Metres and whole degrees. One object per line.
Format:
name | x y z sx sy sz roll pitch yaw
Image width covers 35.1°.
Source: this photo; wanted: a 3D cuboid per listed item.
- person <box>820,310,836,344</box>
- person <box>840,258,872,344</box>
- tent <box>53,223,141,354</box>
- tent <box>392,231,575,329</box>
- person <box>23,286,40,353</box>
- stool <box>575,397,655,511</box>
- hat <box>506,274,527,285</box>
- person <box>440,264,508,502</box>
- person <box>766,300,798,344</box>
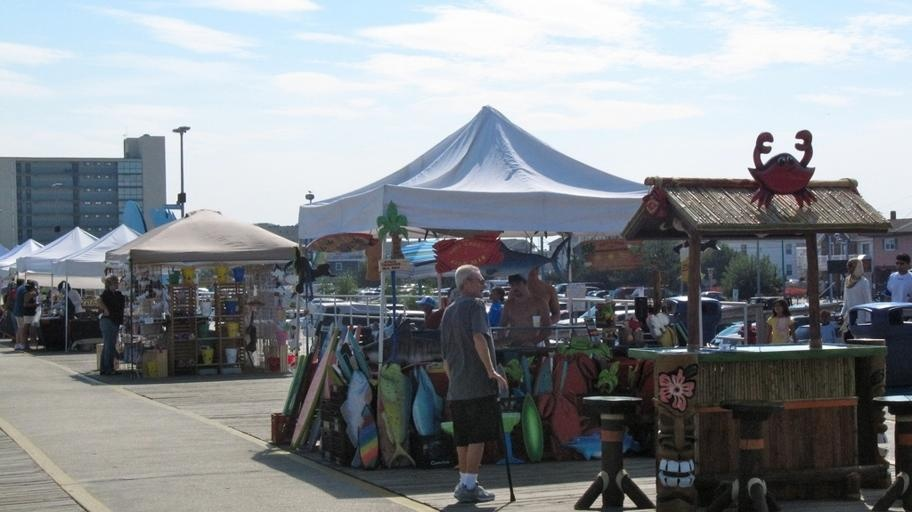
person | 8.486 1.575 32.967 0.342 0.763 2.111 -2 -5 15
person | 8.697 0.904 31.553 0.618 1.766 1.582 -2 -5 15
tent | -9.682 0.621 42.231 2.865 2.787 2.772 -5 0 12
tent | 0.753 0.116 28.321 3.495 1.270 0.532 0 2 -23
person | -12.446 1.710 42.151 0.378 2.006 0.817 1 -5 -16
stool | 2.603 3.404 25.229 1.320 1.944 1.144 0 -5 -14
hat | 1.181 0.460 28.678 0.237 0.198 0.266 -5 -2 3
person | 0.239 2.221 25.131 0.994 4.099 0.500 -1 -5 -2
person | 6.958 1.392 31.139 0.541 0.943 1.794 -2 -5 12
